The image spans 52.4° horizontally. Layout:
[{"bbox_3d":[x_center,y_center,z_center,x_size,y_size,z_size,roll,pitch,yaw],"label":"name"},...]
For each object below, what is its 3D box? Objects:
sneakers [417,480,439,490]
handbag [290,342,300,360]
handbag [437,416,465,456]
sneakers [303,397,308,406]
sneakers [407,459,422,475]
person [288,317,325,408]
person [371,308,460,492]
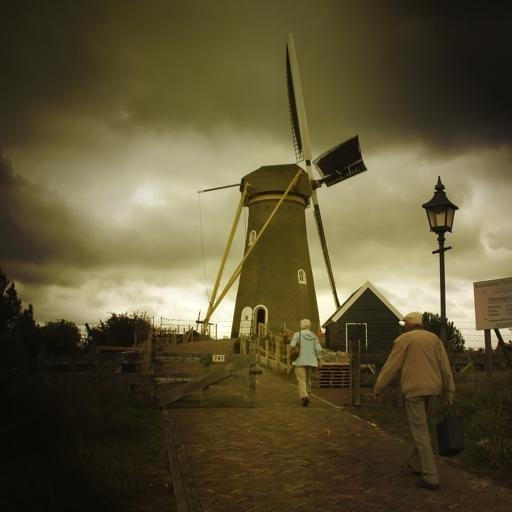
[{"bbox_3d":[1.789,2.376,5.421,0.224,0.115,0.089,3,-3,-6],"label":"sneakers"},{"bbox_3d":[0.944,2.240,12.252,0.081,0.378,0.250,9,-15,9],"label":"handbag"},{"bbox_3d":[2.101,1.942,5.608,0.273,0.443,0.244,-3,-9,22],"label":"handbag"},{"bbox_3d":[1.127,3.268,11.715,0.134,0.201,0.358,0,-9,0],"label":"sneakers"},{"bbox_3d":[1.805,2.430,5.994,0.106,0.217,0.160,19,-28,-30],"label":"sneakers"},{"bbox_3d":[1.206,2.490,12.349,0.695,1.969,1.405,-1,-9,6],"label":"person"},{"bbox_3d":[1.888,1.601,6.141,0.867,1.886,1.316,-3,-9,18],"label":"person"}]
